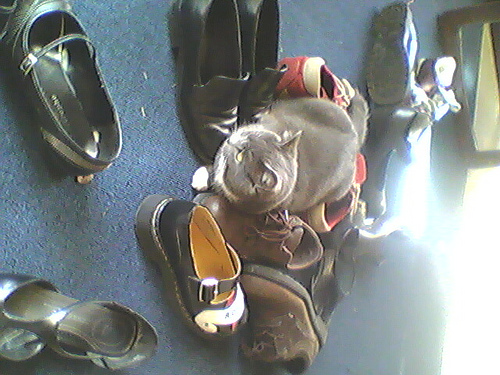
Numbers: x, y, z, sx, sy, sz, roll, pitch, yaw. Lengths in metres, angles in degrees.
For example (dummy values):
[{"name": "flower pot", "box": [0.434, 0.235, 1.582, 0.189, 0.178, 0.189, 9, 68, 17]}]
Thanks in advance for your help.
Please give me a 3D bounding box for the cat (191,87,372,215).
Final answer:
[{"name": "cat", "box": [0.075, -0.110, 1.832, 0.443, 0.245, 0.164, -33, 25, -26]}]
